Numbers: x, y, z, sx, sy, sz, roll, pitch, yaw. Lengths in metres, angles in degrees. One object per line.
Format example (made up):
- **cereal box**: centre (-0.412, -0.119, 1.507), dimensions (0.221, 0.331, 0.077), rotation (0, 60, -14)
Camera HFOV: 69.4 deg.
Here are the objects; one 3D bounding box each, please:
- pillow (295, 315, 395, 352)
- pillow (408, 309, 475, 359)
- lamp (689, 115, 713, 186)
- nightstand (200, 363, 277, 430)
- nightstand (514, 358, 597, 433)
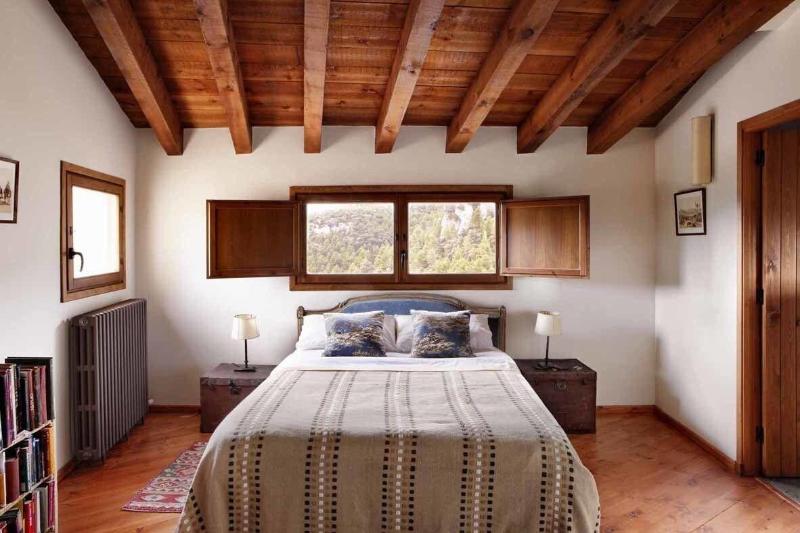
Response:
- **pillow**: centre (-0.558, 0.690, 5.916), dimensions (0.768, 0.192, 0.456), rotation (1, 10, 1)
- **pillow**: centre (0.435, 0.688, 5.712), dimensions (0.502, 0.438, 0.149), rotation (1, -33, 3)
- **lamp**: centre (2.837, -1.089, 5.381), dimensions (0.188, 0.651, 0.110), rotation (-2, 1, 5)
- **nightstand**: centre (-1.622, 1.276, 5.825), dimensions (0.685, 0.384, 0.646), rotation (0, 1, -5)
- **nightstand**: centre (1.659, 1.286, 6.032), dimensions (0.755, 0.514, 0.722), rotation (0, 1, 4)
